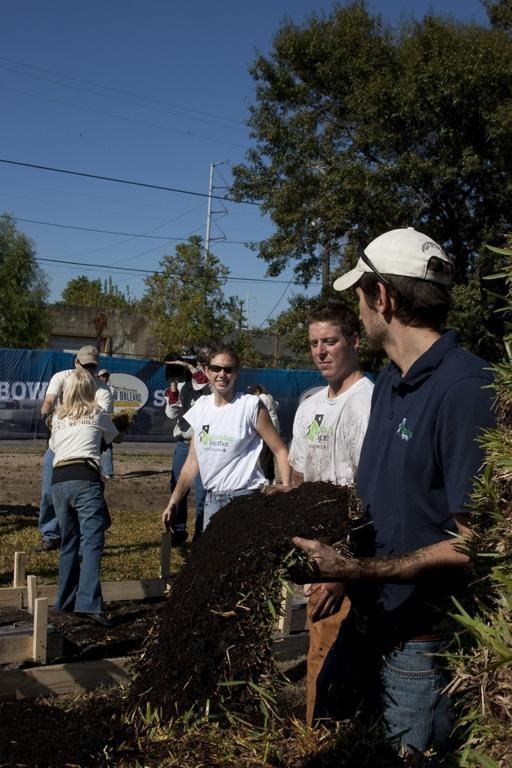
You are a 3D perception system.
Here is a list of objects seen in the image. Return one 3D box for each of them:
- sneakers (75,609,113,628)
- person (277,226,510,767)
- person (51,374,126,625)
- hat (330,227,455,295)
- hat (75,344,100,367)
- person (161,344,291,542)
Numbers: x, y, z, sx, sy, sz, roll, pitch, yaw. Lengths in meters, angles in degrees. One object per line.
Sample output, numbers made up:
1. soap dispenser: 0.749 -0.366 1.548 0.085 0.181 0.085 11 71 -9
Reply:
1. sneakers: -1.168 1.672 4.906 0.290 0.120 0.093 27 18 -32
2. person: 0.398 0.252 1.957 0.460 1.561 0.767 0 -11 5
3. person: -1.279 0.772 5.010 0.426 1.817 0.493 5 -11 -19
4. hat: 0.411 -0.384 2.155 0.336 0.181 0.240 3 7 31
5. hat: -1.714 -0.283 7.001 0.181 0.136 0.242 6 -3 -14
6. person: -0.126 0.294 4.427 0.781 1.160 0.271 -4 -12 27
